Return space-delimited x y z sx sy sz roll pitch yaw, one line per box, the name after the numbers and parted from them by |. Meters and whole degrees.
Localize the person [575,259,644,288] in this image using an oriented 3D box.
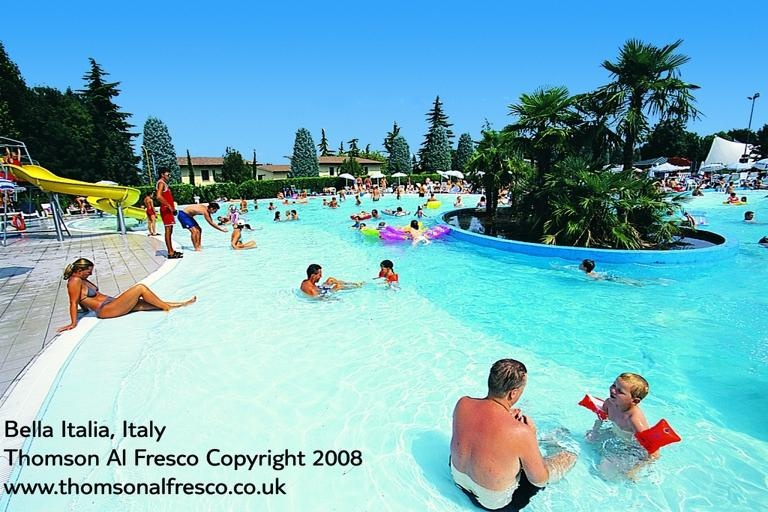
5.544 0.465 10.959 0.987 0.327 0.702 9 10 33 | person

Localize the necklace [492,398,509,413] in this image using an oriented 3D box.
1.457 1.836 5.390 0.191 0.070 0.146 32 11 -8 | necklace

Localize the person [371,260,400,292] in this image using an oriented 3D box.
-0.001 0.452 11.031 0.729 0.942 0.810 -1 19 -5 | person

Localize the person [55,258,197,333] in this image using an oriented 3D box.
-5.154 0.679 8.813 2.595 1.110 1.155 1 7 -45 | person

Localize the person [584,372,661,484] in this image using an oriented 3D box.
3.299 2.447 6.032 0.611 1.542 0.754 -1 38 4 | person

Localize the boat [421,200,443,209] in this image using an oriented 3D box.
2.775 -2.858 24.470 0.771 0.501 1.004 0 12 -4 | boat

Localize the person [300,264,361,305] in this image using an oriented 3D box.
-1.186 0.594 10.385 1.626 0.804 0.710 -6 21 -32 | person
